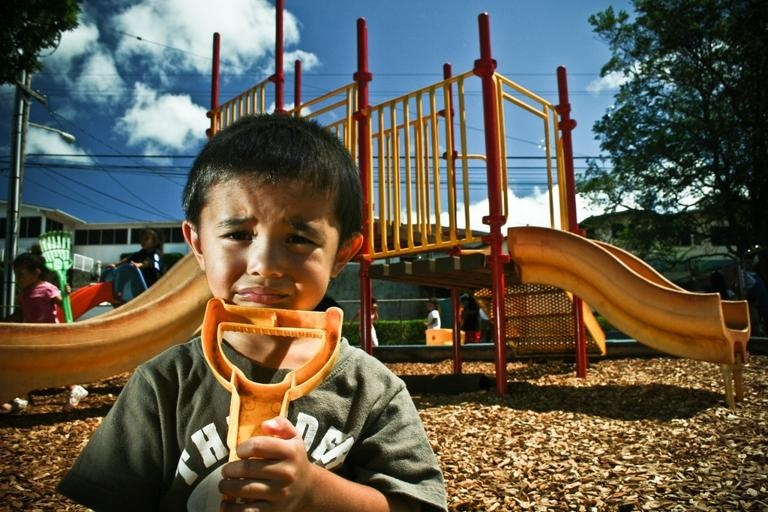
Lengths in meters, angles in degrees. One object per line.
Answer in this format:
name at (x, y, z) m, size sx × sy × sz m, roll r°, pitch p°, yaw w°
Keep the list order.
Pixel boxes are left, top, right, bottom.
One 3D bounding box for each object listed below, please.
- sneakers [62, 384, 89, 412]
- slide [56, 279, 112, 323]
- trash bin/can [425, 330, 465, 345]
sneakers at (-3.589, 1.636, 8.705) m, size 0.149 × 0.191 × 0.444 m, roll -16°, pitch -6°, yaw -2°
slide at (-4.440, 0.647, 10.943) m, size 0.657 × 0.380 × 0.499 m, roll -10°, pitch 6°, yaw -37°
trash bin/can at (1.115, 1.513, 13.784) m, size 0.475 × 0.258 × 0.711 m, roll 0°, pitch 1°, yaw -22°
